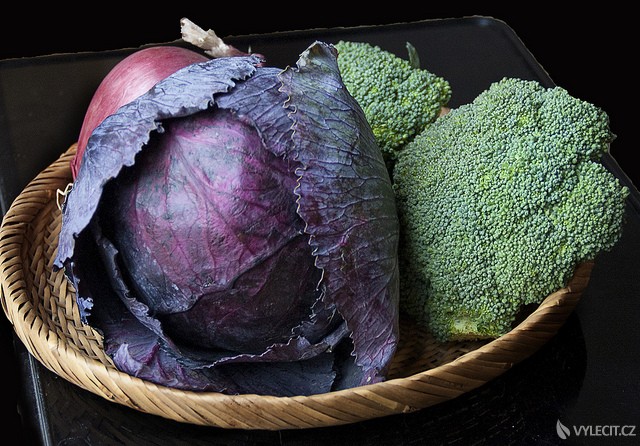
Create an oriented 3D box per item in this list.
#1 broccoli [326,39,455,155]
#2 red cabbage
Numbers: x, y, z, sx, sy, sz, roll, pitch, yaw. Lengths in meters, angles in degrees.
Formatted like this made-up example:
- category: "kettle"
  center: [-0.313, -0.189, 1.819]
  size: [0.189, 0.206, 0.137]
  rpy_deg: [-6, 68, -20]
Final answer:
- category: "broccoli"
  center: [0.209, -0.451, 2.174]
  size: [0.376, 0.162, 0.394]
  rpy_deg: [-32, 70, -19]
- category: "red cabbage"
  center: [-0.215, 0.036, 1.711]
  size: [0.879, 0.807, 0.553]
  rpy_deg: [5, 39, 7]
